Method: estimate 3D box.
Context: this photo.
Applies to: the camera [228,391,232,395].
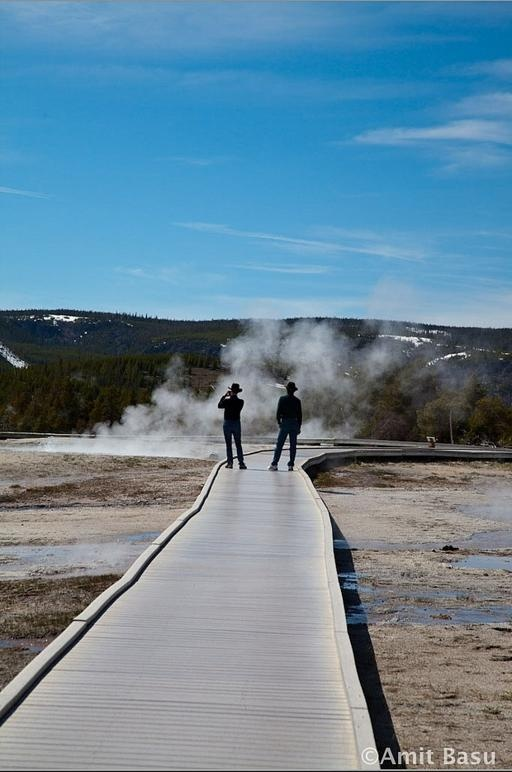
[{"bbox_3d":[-0.496,0.122,15.383,0.063,0.057,0.106,0,6,-3],"label":"camera"}]
